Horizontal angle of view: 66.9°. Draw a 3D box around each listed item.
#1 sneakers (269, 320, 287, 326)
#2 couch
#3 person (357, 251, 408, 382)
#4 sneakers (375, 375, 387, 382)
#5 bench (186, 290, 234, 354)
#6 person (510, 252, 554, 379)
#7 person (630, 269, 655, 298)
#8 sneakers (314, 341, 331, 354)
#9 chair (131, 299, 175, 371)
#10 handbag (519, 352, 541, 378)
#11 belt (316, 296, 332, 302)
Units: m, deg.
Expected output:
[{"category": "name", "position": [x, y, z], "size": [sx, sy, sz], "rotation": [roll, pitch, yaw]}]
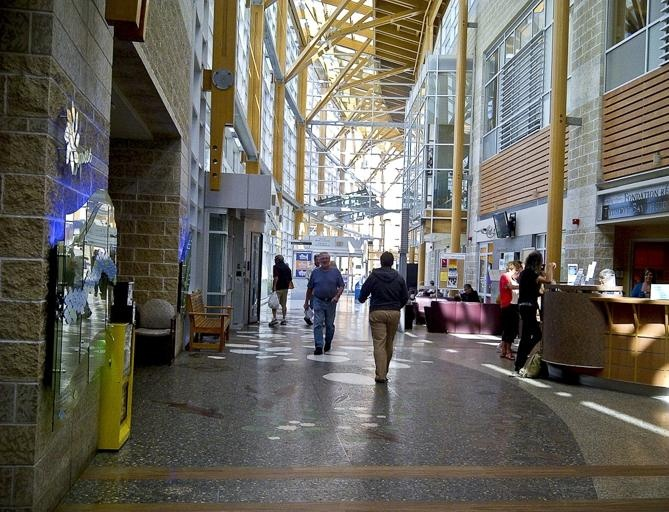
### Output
[{"category": "sneakers", "position": [-1.777, 2.157, 16.176], "size": [0.606, 0.289, 0.234], "rotation": [1, -3, -8]}, {"category": "couch", "position": [4.023, 1.940, 15.819], "size": [2.305, 0.972, 0.379], "rotation": [2, -2, 5]}, {"category": "person", "position": [0.751, 0.925, 8.038], "size": [0.499, 2.028, 0.860], "rotation": [-1, -3, 44]}, {"category": "sneakers", "position": [0.716, 1.888, 7.802], "size": [0.187, 0.081, 0.225], "rotation": [2, -3, 3]}, {"category": "bench", "position": [-2.749, 1.460, 11.346], "size": [0.803, 1.150, 2.280], "rotation": [2, -3, -8]}, {"category": "person", "position": [3.399, 0.983, 8.795], "size": [0.728, 2.131, 0.520], "rotation": [3, -3, -31]}, {"category": "person", "position": [7.055, 0.614, 11.628], "size": [0.354, 0.639, 0.918], "rotation": [0, -3, 29]}, {"category": "sneakers", "position": [-0.258, 1.936, 10.635], "size": [0.171, 0.256, 0.587], "rotation": [0, -12, 5]}, {"category": "chair", "position": [-3.049, 1.293, 8.655], "size": [0.635, 1.053, 0.860], "rotation": [3, -3, -22]}, {"category": "handbag", "position": [3.268, 1.823, 8.498], "size": [0.355, 0.421, 0.255], "rotation": [0, -3, 30]}, {"category": "belt", "position": [-0.215, 0.892, 10.383], "size": [0.324, 0.085, 0.040], "rotation": [2, -2, 2]}]
